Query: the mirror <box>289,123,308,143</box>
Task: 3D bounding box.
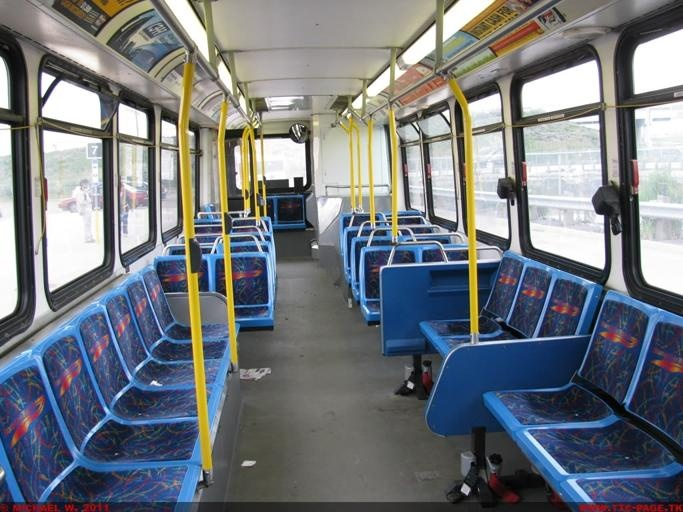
[{"bbox_3d":[-0.976,-2.810,11.438,0.447,0.451,0.138,-3,11,-7],"label":"mirror"}]
